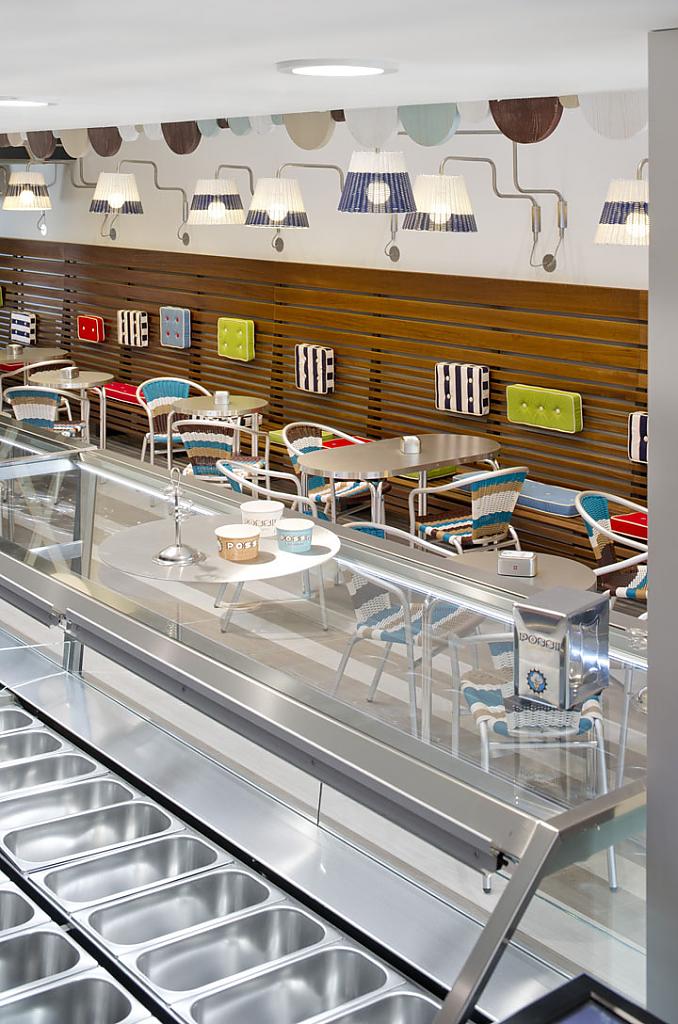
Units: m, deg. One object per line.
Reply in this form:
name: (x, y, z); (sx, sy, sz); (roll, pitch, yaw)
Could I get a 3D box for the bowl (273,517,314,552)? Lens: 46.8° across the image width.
bowl: (-0.103, 0.049, 1.705); (0.063, 0.046, 0.074); (1, 5, -2)

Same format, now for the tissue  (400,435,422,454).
tissue : (0.511, -0.476, 5.578); (0.098, 0.116, 0.152); (-2, 5, -25)

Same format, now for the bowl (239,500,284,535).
bowl: (-0.181, 0.006, 1.837); (0.081, 0.050, 0.080); (1, 6, 0)

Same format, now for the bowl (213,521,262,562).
bowl: (-0.207, 0.056, 1.624); (0.076, 0.048, 0.077); (0, 8, 0)

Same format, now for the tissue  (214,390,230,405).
tissue : (-1.092, -1.046, 7.241); (0.146, 0.111, 0.100); (1, 5, 7)
